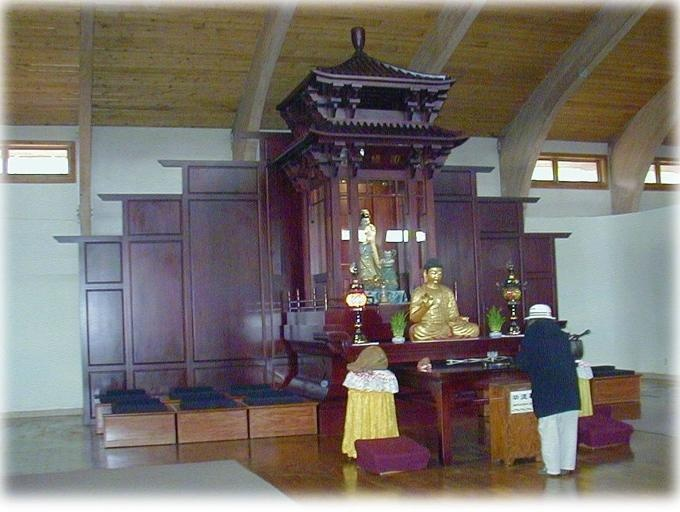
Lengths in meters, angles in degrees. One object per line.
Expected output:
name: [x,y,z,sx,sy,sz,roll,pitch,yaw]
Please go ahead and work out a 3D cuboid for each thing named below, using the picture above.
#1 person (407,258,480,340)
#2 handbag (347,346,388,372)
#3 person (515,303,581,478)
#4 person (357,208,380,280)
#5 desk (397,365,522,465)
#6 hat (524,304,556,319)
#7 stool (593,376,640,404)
person: [1.110,0.484,6.582,0.803,0.900,0.342,0,-4,-21]
handbag: [0.277,0.972,5.548,0.328,0.159,0.217,0,-1,-12]
person: [1.734,1.144,4.825,0.461,1.261,0.213,0,-3,-13]
person: [0.374,-0.105,7.341,0.206,0.974,0.458,-4,-4,38]
desk: [1.186,1.438,5.673,0.966,0.778,0.935,0,-3,-19]
hat: [1.752,0.478,5.109,0.250,0.122,0.298,0,3,29]
stool: [3.391,1.623,7.167,0.433,0.204,0.423,-1,0,-13]
